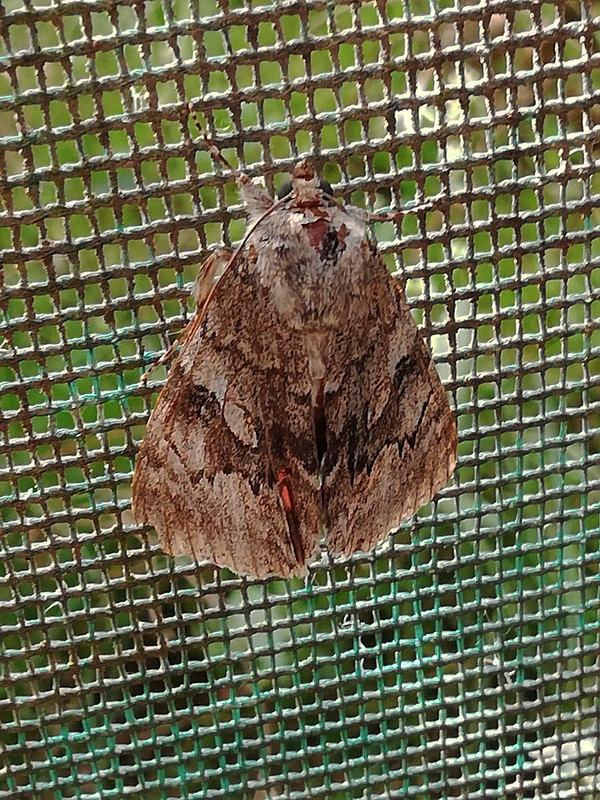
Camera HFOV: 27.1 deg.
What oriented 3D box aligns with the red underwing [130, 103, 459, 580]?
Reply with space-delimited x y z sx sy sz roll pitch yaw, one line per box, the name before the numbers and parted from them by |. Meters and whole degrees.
red underwing | 0.024 -0.044 1.713 0.435 0.471 0.397 12 -41 -17
